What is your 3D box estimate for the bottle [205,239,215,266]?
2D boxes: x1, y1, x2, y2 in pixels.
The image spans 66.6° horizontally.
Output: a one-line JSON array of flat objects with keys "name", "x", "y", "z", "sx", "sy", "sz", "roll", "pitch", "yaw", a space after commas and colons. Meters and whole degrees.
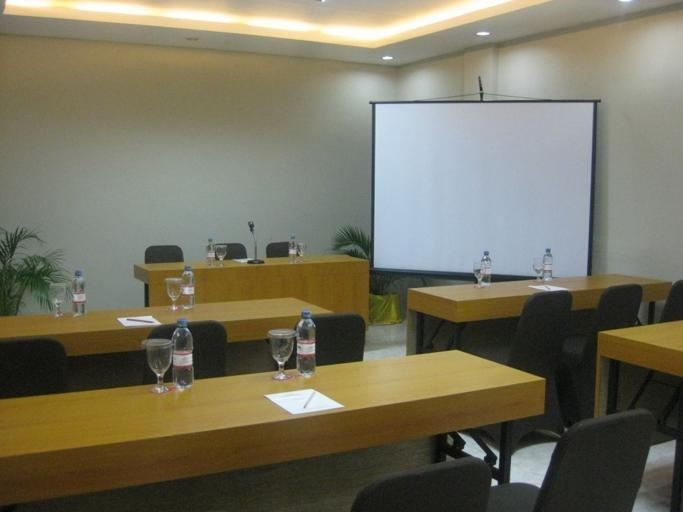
[{"name": "bottle", "x": -1.367, "y": -0.045, "z": 5.409, "sx": 0.069, "sy": 0.260, "sz": 0.327, "roll": -5, "pitch": 7, "yaw": -11}]
